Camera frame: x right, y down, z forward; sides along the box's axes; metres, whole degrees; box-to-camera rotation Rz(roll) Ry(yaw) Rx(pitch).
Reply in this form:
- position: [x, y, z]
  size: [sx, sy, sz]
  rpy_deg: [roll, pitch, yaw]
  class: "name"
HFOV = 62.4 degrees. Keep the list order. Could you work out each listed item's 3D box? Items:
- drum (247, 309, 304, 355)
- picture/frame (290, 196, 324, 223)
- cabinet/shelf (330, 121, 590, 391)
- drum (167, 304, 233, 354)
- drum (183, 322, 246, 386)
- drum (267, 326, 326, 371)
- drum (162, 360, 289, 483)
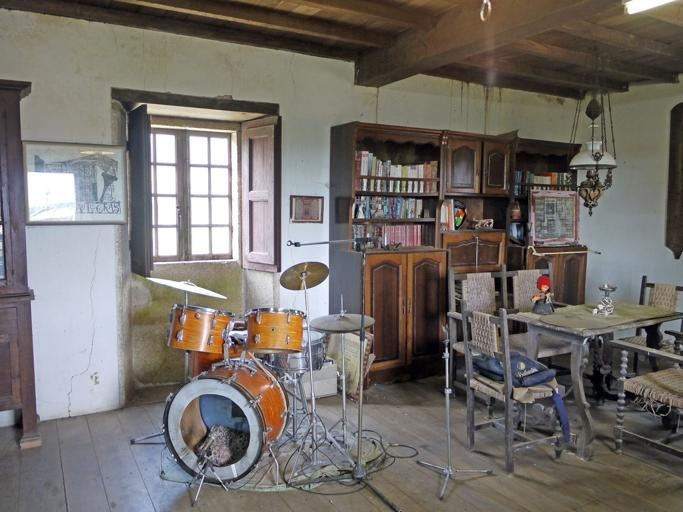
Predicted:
- position: [-0.543, 0.583, 4.495]
  size: [0.377, 0.238, 0.379]
  rpy_deg: [1, -6, 0]
  class: "drum"
- position: [-0.408, -0.527, 6.328]
  size: [0.296, 0.249, 0.028]
  rpy_deg: [-3, 11, -27]
  class: "picture/frame"
- position: [1.197, 0.020, 6.315]
  size: [3.192, 3.058, 0.828]
  rpy_deg: [-1, 1, -28]
  class: "cabinet/shelf"
- position: [-1.155, 0.592, 4.600]
  size: [0.417, 0.269, 0.411]
  rpy_deg: [10, -5, 1]
  class: "drum"
- position: [-1.058, 0.868, 4.970]
  size: [0.539, 0.544, 0.554]
  rpy_deg: [10, 2, -32]
  class: "drum"
- position: [-0.325, 0.806, 4.949]
  size: [0.337, 0.221, 0.359]
  rpy_deg: [1, 7, 0]
  class: "drum"
- position: [-0.927, 1.316, 4.557]
  size: [0.897, 0.890, 0.529]
  rpy_deg: [3, 14, 11]
  class: "drum"
